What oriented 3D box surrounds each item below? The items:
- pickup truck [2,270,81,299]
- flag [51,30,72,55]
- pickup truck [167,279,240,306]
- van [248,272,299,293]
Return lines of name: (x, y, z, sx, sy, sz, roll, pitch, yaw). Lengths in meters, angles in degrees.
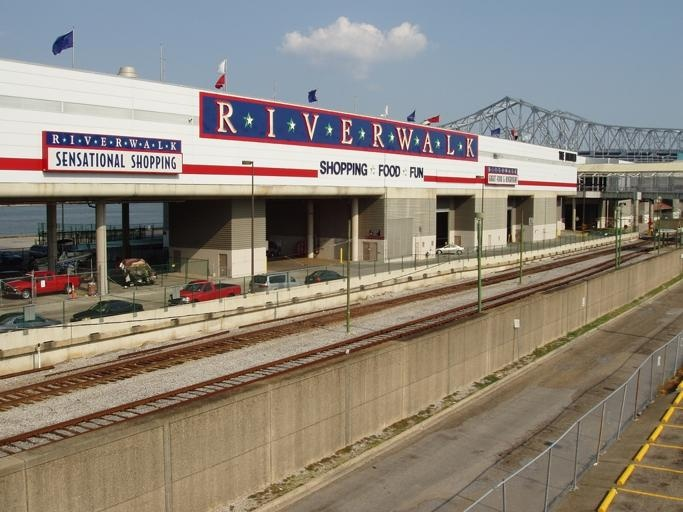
pickup truck: (-20.619, 2.024, 52.945, 2.535, 1.410, 6.484, -1, 3, 7)
flag: (-20.988, -16.105, 58.241, 1.330, 1.949, 2.783, -3, 3, -21)
pickup truck: (-10.186, 2.753, 58.044, 1.687, 1.046, 3.575, 0, 1, 44)
van: (-5.711, 2.128, 61.986, 3.341, 1.366, 1.353, -3, 3, -24)
